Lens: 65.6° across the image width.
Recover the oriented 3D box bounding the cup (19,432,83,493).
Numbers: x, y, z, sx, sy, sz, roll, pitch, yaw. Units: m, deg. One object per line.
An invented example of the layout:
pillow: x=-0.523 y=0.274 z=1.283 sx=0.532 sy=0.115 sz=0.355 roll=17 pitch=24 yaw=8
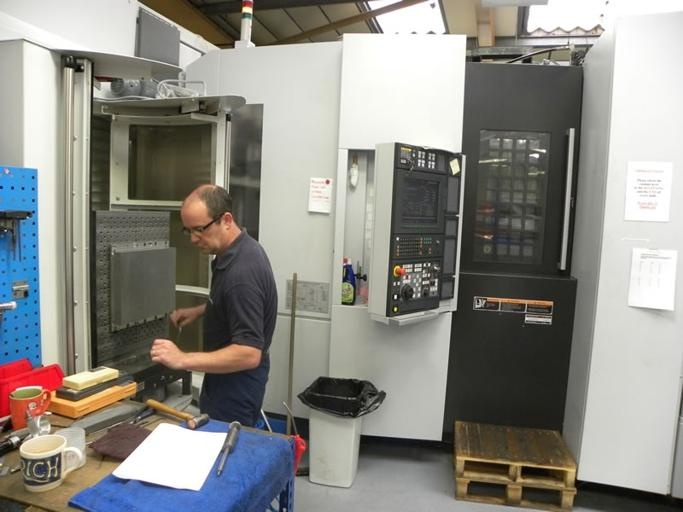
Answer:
cup: x=-1.154 y=0.766 z=2.110 sx=0.276 sy=0.215 sz=0.181 roll=2 pitch=0 yaw=-42

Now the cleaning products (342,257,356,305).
cleaning products: x=0.060 y=0.172 z=3.570 sx=0.070 sy=0.309 sz=0.178 roll=6 pitch=9 yaw=35
